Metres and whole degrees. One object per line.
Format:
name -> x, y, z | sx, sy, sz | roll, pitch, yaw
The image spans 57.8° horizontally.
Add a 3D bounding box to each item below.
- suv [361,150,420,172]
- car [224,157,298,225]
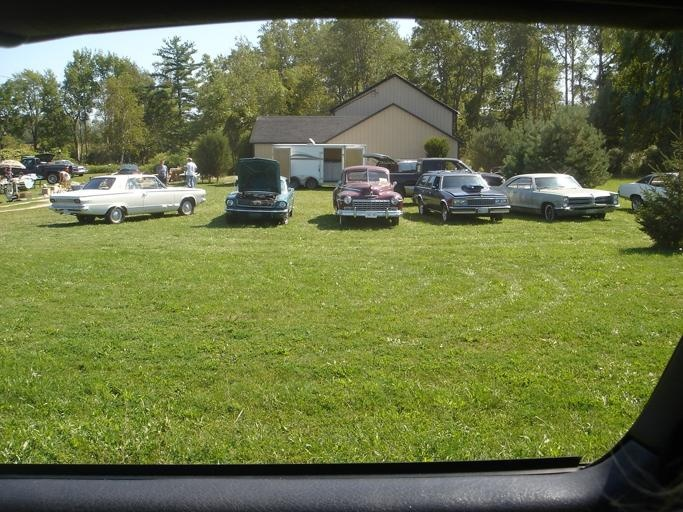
suv -> 2.526, -4.412, 31.430 | 2.693, 1.338, 1.556 | -5, 14, -8
car -> -2.453, -2.088, 19.254 | 1.694, 1.996, 3.438 | 2, 9, 2
